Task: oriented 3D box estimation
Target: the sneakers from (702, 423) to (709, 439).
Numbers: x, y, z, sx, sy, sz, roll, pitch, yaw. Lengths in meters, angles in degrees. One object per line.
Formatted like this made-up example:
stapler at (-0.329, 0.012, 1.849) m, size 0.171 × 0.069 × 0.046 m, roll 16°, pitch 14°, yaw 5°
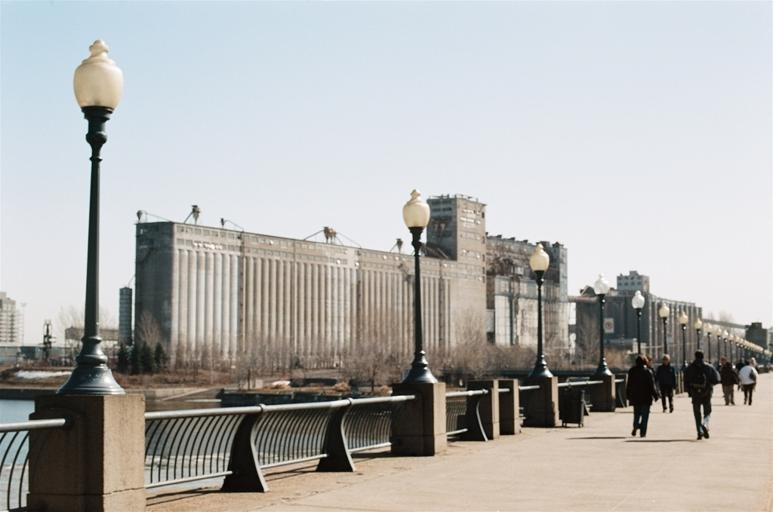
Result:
sneakers at (11.540, 6.396, 57.561) m, size 0.192 × 0.495 × 0.199 m, roll -9°, pitch -1°, yaw 12°

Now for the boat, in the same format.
boat at (-7.512, 11.686, 142.904) m, size 14.168 × 4.118 × 25.479 m, roll -3°, pitch -8°, yaw 4°
